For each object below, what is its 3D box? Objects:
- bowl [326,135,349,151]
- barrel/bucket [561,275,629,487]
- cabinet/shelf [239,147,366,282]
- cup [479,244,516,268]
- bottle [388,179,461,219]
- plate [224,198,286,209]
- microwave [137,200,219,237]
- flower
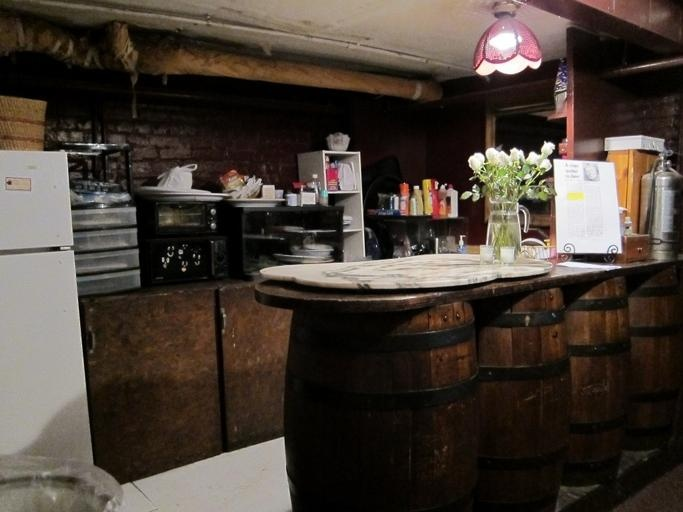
[{"bbox_3d":[-0.024,-1.018,4.937,0.171,0.128,0.178,0,-3,0],"label":"bowl"},{"bbox_3d":[1.291,0.631,2.710,0.391,1.015,0.156,-3,6,-28],"label":"barrel/bucket"},{"bbox_3d":[-0.310,-0.327,4.110,1.124,0.968,0.327,-1,-2,-45],"label":"cabinet/shelf"},{"bbox_3d":[0.785,-0.009,2.704,0.162,0.090,0.185,3,7,30],"label":"cup"},{"bbox_3d":[0.831,-0.566,5.396,0.984,0.451,0.293,2,-1,-38],"label":"bottle"},{"bbox_3d":[-0.593,-0.402,4.032,0.517,0.064,0.239,-6,8,-43],"label":"plate"},{"bbox_3d":[-1.175,-0.276,3.749,0.570,0.264,0.433,-4,8,-34],"label":"microwave"},{"bbox_3d":[0.893,-0.280,2.884,0.411,0.652,0.462,2,2,22],"label":"flower"}]
